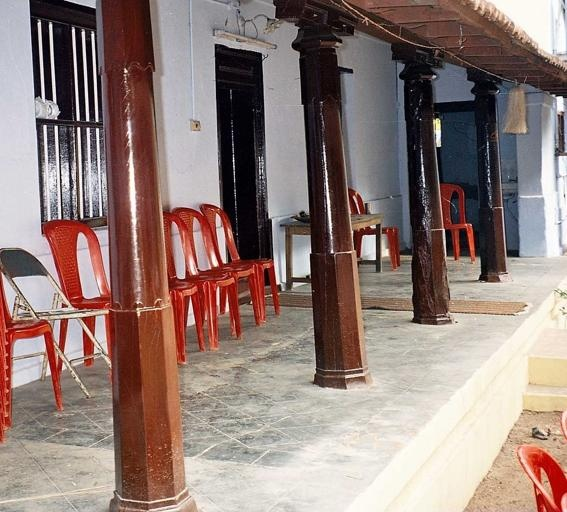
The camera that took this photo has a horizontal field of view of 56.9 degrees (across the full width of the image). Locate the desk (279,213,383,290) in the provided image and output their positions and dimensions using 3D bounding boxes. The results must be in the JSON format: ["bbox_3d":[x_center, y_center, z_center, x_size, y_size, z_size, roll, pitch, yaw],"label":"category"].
[{"bbox_3d":[0.850,-0.105,8.138,0.728,0.936,1.949,2,9,38],"label":"desk"}]

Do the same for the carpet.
[{"bbox_3d":[1.407,0.573,6.395,2.861,0.084,0.782,0,5,22],"label":"carpet"}]
